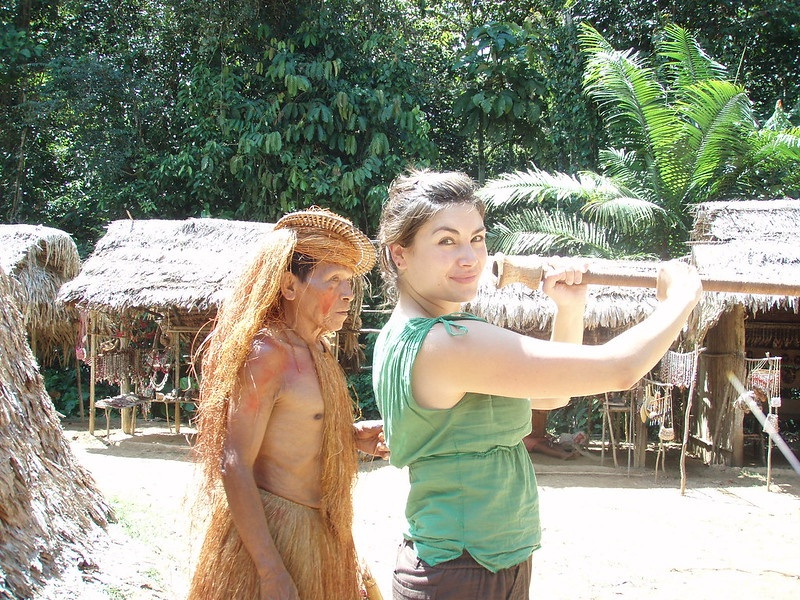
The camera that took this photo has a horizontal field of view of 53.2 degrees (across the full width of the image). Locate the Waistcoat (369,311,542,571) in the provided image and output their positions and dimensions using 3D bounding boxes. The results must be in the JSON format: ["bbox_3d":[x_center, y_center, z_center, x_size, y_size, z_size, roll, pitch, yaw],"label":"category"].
[{"bbox_3d":[0.521,0.880,5.919,0.956,1.804,1.097,6,5,-1],"label":"Waistcoat"}]

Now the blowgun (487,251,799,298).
[{"bbox_3d":[2.614,-0.253,8.085,2.945,0.439,0.471,5,-17,1],"label":"blowgun"}]
